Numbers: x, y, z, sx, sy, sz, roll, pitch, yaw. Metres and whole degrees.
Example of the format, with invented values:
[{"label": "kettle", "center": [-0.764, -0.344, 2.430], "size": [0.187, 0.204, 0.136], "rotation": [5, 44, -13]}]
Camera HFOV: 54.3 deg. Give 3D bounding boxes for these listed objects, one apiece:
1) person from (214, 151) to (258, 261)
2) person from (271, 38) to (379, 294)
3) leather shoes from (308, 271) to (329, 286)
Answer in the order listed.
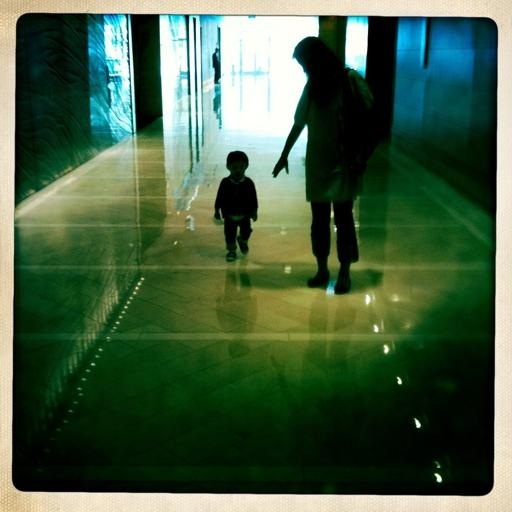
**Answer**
[{"label": "person", "center": [-0.124, -0.284, 3.277], "size": [0.255, 0.781, 0.687], "rotation": [0, 11, -2]}, {"label": "person", "center": [0.307, -0.402, 2.217], "size": [0.261, 1.075, 0.439], "rotation": [-12, 16, -43]}, {"label": "leather shoes", "center": [0.396, 0.150, 3.092], "size": [0.137, 0.070, 0.137], "rotation": [1, -27, 3]}]
